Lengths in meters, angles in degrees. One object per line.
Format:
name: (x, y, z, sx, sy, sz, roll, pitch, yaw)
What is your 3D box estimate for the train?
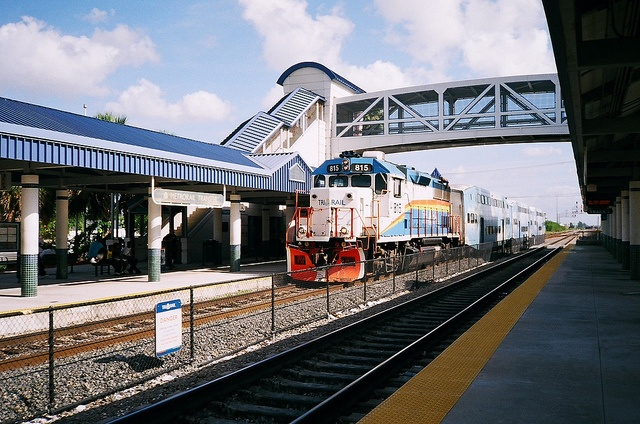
train: (6.744, 0.953, 32.802, 5.342, 6.967, 30.723, -3, -5, 34)

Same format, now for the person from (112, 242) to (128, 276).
person: (-10.069, 2.383, 26.040, 0.708, 1.545, 0.511, 0, -4, -40)
